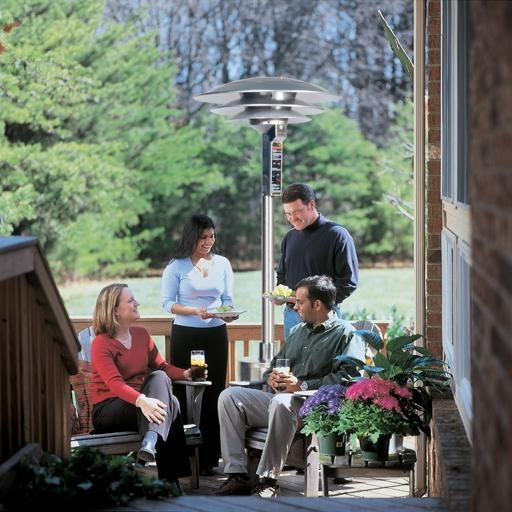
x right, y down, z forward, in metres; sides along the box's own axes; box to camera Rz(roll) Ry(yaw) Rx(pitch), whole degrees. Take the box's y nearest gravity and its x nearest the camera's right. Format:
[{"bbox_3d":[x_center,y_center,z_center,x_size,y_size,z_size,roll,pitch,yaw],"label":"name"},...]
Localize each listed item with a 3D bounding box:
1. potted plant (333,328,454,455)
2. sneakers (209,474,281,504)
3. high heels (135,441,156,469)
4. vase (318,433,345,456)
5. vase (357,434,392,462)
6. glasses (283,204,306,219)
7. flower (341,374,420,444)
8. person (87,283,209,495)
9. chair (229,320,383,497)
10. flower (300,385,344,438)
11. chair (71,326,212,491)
[{"bbox_3d":[0.715,0.672,5.559,0.498,0.398,0.492,1,6,-41],"label":"potted plant"},{"bbox_3d":[-0.034,1.211,5.781,0.309,0.110,0.284,-1,-1,-28],"label":"sneakers"},{"bbox_3d":[-0.587,1.057,5.767,0.077,0.115,0.258,6,-31,-3],"label":"high heels"},{"bbox_3d":[0.385,0.953,5.571,0.114,0.103,0.110,-3,-4,15],"label":"vase"},{"bbox_3d":[0.605,0.969,5.491,0.133,0.125,0.133,3,-10,-20],"label":"vase"},{"bbox_3d":[0.254,-0.293,6.650,0.068,0.030,0.093,-18,16,36],"label":"glasses"},{"bbox_3d":[0.626,0.754,5.505,0.286,0.311,0.325,-2,-4,38],"label":"flower"},{"bbox_3d":[-0.572,0.665,5.986,0.553,1.050,0.611,0,-1,-41],"label":"person"},{"bbox_3d":[0.168,0.808,5.904,0.827,1.157,0.713,4,-7,-34],"label":"chair"},{"bbox_3d":[0.383,0.829,5.660,0.264,0.327,0.274,-5,2,8],"label":"flower"},{"bbox_3d":[-0.650,0.866,6.335,0.677,0.966,0.844,1,-2,-38],"label":"chair"}]
